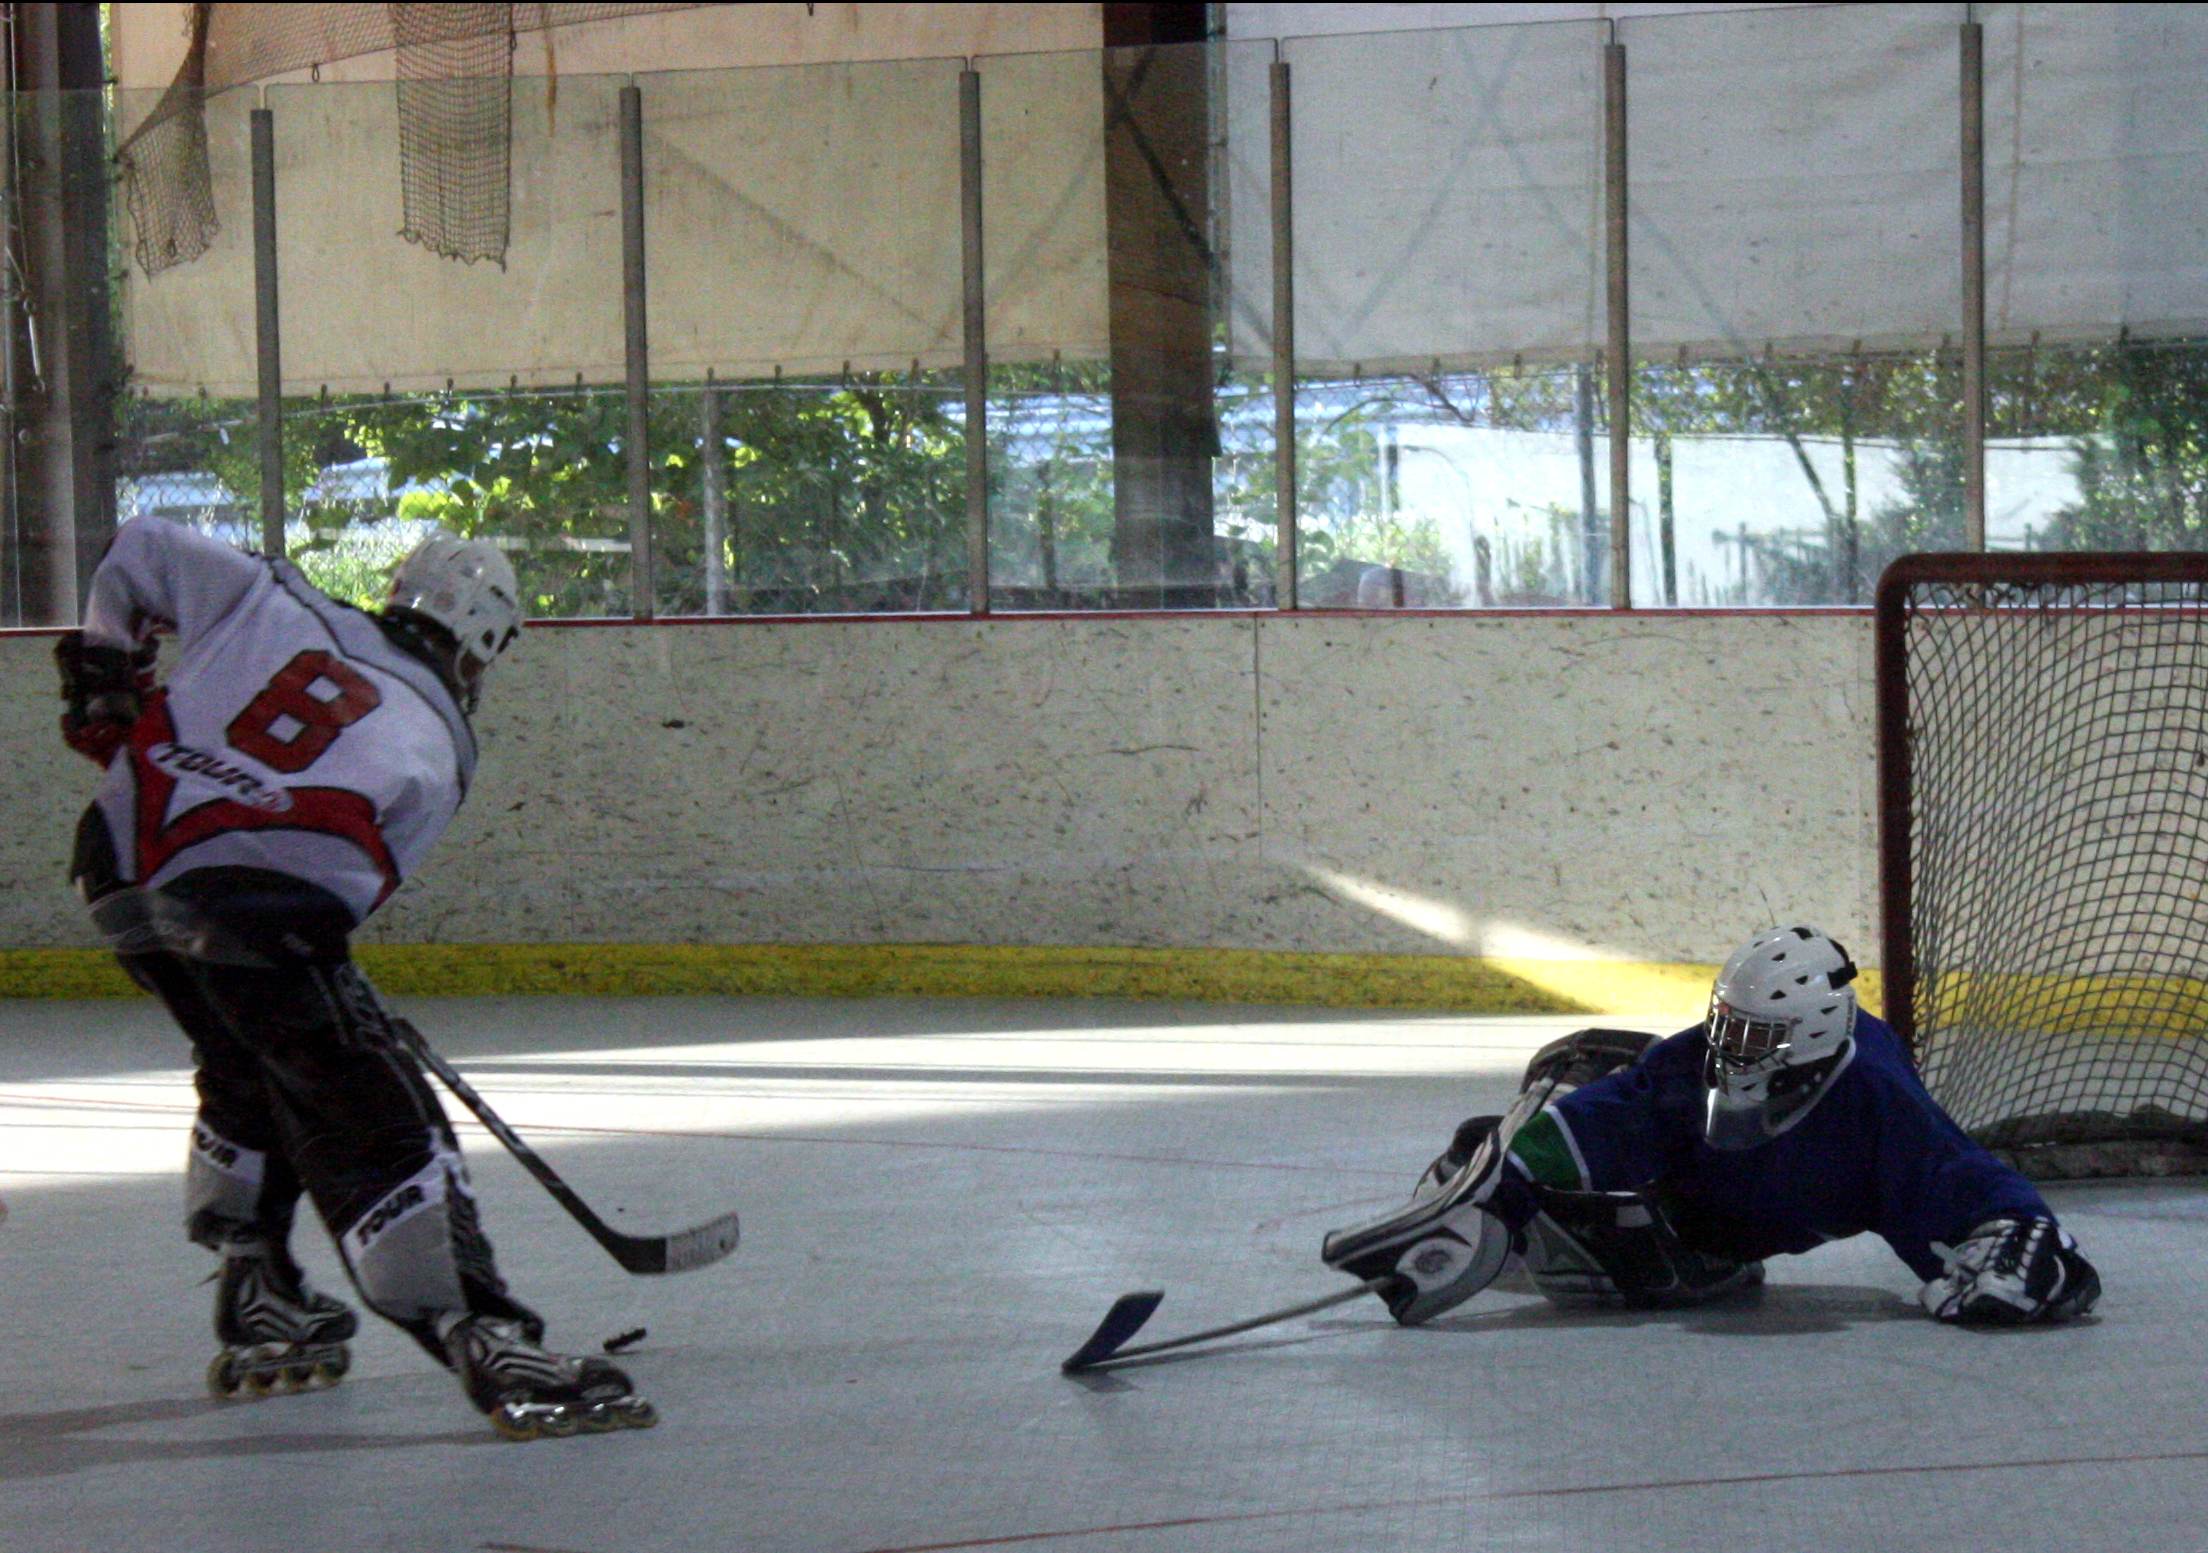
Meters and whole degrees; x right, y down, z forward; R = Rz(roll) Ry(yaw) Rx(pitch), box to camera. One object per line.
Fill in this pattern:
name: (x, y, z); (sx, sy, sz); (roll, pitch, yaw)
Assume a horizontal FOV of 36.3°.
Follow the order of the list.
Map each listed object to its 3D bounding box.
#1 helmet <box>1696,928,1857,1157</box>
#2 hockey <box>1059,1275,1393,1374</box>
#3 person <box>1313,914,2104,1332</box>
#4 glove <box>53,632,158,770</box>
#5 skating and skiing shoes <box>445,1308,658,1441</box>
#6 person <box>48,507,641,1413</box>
helmet: (1.723, 0.668, 8.695); (0.439, 0.489, 0.525); (7, 10, 34)
hockey: (0.247, 1.377, 8.302); (0.587, 0.092, 0.290); (-13, 3, 10)
person: (1.602, 0.956, 8.645); (1.964, 0.862, 1.046); (0, 16, 28)
glove: (-2.437, -0.182, 8.295); (0.345, 0.302, 0.148); (-11, 3, 9)
skating and skiing shoes: (-1.361, 1.460, 8.016); (0.179, 0.201, 0.614); (-4, -15, 41)
person: (-1.883, 0.454, 8.159); (1.420, 2.113, 0.843); (1, 15, 9)
